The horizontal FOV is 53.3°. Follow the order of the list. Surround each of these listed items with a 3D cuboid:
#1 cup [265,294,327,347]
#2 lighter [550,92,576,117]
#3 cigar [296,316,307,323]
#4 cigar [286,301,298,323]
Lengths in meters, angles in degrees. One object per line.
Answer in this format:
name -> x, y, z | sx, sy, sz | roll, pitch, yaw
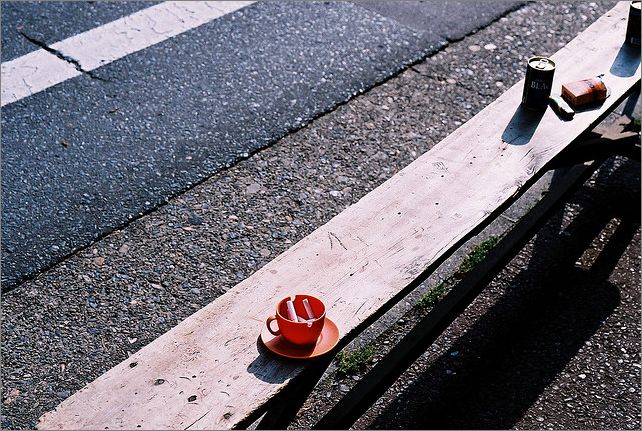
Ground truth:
cup -> -0.115, 0.545, 3.363 | 0.334, 0.192, 0.234 | -10, 42, -8
lighter -> 1.656, -0.773, 4.441 | 0.213, 0.106, 0.056 | 51, 120, 42
cigar -> -0.104, 0.545, 3.340 | 0.049, 0.057, 0.045 | -5, 71, -1
cigar -> -0.157, 0.508, 3.358 | 0.035, 0.034, 0.125 | -34, 40, 6
